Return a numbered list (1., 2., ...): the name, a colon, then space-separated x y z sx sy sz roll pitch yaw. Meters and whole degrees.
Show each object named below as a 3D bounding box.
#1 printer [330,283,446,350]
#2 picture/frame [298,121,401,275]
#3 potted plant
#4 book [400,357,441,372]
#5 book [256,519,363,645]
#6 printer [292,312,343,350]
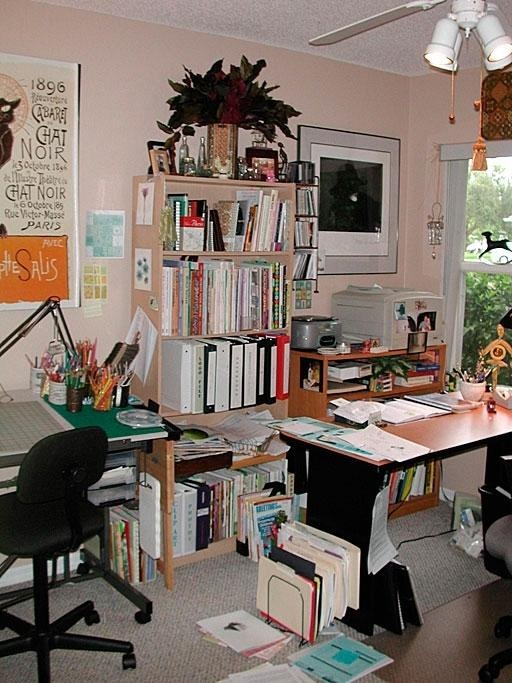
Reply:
1. printer: 0.830 -0.159 3.508 0.551 0.353 0.550 -3 8 -30
2. picture/frame: 0.574 -0.940 3.521 1.094 1.089 0.054 -5 6 -37
3. potted plant: -0.139 -1.174 2.787 0.734 0.531 0.449 2 1 -26
4. book: 1.012 0.148 3.409 0.140 0.031 0.137 -2 8 -16
5. book: 0.174 0.877 2.058 0.264 0.346 0.354 2 1 -38
6. printer: 0.346 -0.051 3.111 0.218 0.130 0.216 -8 12 -42
